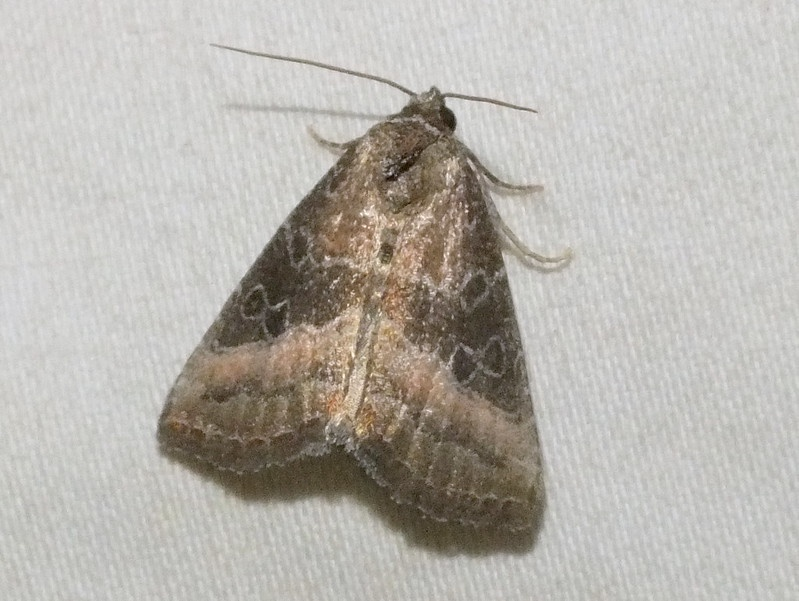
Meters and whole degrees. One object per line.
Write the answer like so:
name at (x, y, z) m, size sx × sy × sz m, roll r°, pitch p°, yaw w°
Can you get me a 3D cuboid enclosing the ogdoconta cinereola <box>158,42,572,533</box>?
ogdoconta cinereola at (-0.081, 0.080, 3.483) m, size 1.001 × 1.307 × 0.300 m, roll 14°, pitch -2°, yaw 8°
